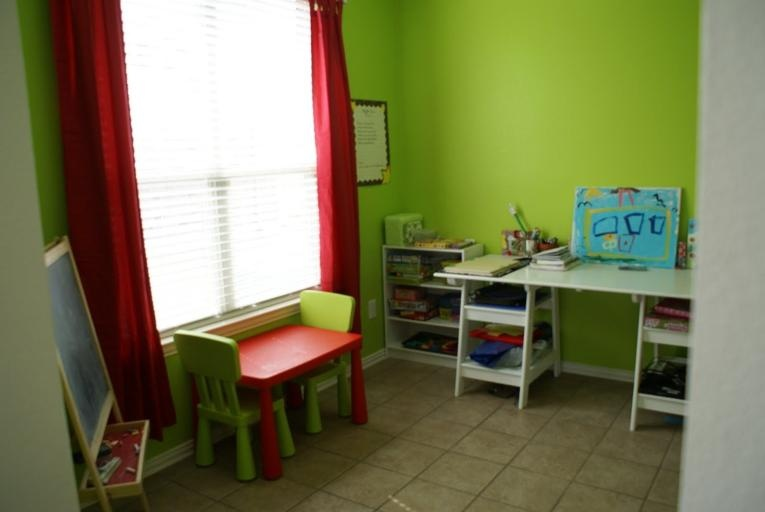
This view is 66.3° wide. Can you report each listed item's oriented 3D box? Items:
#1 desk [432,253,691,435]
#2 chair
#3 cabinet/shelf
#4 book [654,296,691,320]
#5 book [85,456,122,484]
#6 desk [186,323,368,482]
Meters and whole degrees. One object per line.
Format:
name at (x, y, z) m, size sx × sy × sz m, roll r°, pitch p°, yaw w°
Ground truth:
desk at (1.209, 0.516, 3.444) m, size 1.506 × 0.739 × 0.590 m, roll 3°, pitch 6°, yaw 40°
chair at (-0.565, 0.666, 3.163) m, size 0.573 × 0.757 × 0.896 m, roll 8°, pitch 17°, yaw 37°
cabinet/shelf at (0.354, 0.351, 4.262) m, size 0.599 × 0.833 × 0.434 m, roll 5°, pitch 17°, yaw 20°
book at (1.586, 0.270, 3.184) m, size 0.127 × 0.030 × 0.129 m, roll 6°, pitch 15°, yaw 44°
book at (-1.111, 0.858, 2.337) m, size 0.079 × 0.040 × 0.109 m, roll 2°, pitch 22°, yaw 7°
desk at (-0.525, 0.633, 3.090) m, size 0.751 × 0.483 × 0.781 m, roll 1°, pitch 5°, yaw 35°
